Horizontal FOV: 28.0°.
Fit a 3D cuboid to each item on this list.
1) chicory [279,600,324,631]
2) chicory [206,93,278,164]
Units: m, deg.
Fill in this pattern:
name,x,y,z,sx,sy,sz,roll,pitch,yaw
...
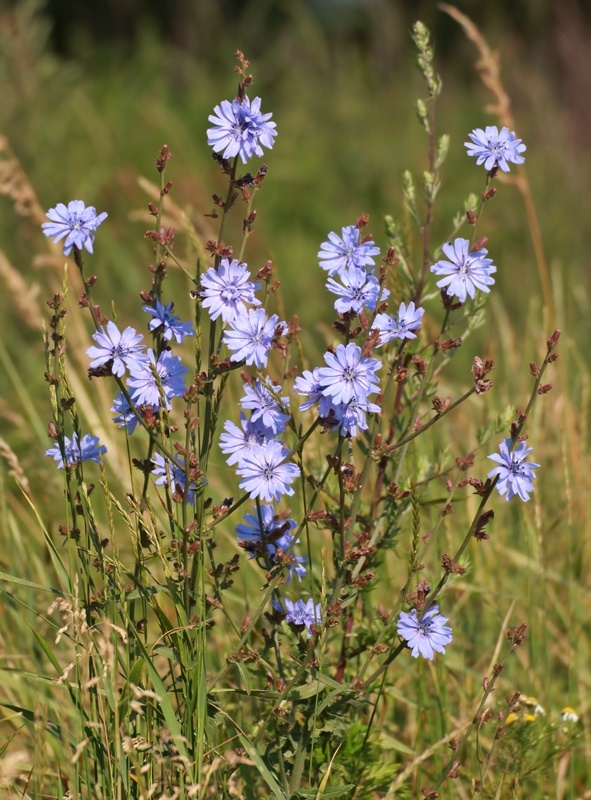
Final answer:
name,x,y,z,sx,sy,sz,roll,pitch,yaw
chicory,0.015,0.447,2.440,0.063,0.023,0.078,5,58,-10
chicory,-0.095,-0.511,2.301,0.117,0.168,0.233,7,29,9
